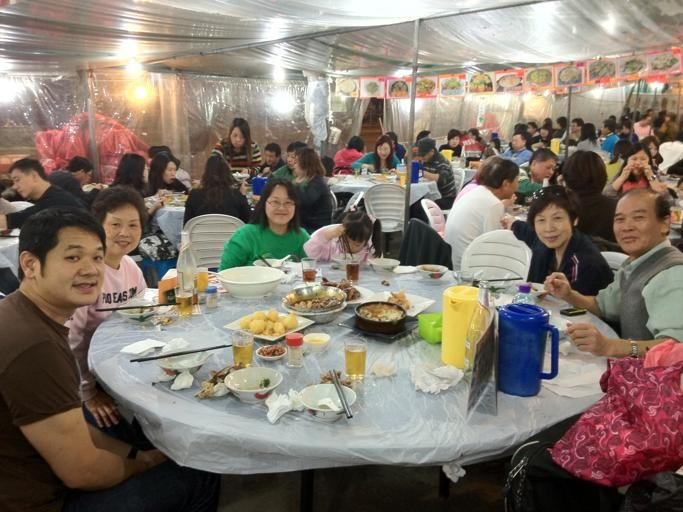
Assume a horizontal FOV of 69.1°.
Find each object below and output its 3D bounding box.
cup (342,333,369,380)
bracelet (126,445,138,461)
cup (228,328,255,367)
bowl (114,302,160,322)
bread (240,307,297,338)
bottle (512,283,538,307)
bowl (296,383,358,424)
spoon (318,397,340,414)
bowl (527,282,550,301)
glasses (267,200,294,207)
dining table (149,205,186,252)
[{"bbox_3d":[0.047,0.370,1.826,0.129,0.174,0.120,0,4,0],"label":"cup"},{"bbox_3d":[-0.832,0.781,1.972,0.047,0.019,0.079,1,8,-14],"label":"bracelet"},{"bbox_3d":[-0.381,0.355,1.862,0.093,0.117,0.080,-2,-3,-8],"label":"cup"},{"bbox_3d":[-0.900,0.248,2.233,0.114,0.026,0.110,1,10,0],"label":"bowl"},{"bbox_3d":[-0.300,0.259,2.070,0.149,0.043,0.139,8,13,26],"label":"bread"},{"bbox_3d":[0.831,0.180,2.256,0.089,0.132,0.077,-3,10,-13],"label":"bottle"},{"bbox_3d":[-0.029,0.473,1.612,0.137,0.054,0.152,-2,19,13],"label":"bowl"},{"bbox_3d":[-0.042,0.472,1.559,0.031,0.011,0.056,-8,7,-25],"label":"spoon"},{"bbox_3d":[0.950,0.172,2.426,0.094,0.031,0.092,4,20,-1],"label":"bowl"},{"bbox_3d":[-0.385,-0.330,3.142,0.169,0.053,0.052,-6,20,-14],"label":"glasses"},{"bbox_3d":[-1.635,-0.253,4.601,0.407,0.353,0.390,-9,26,-34],"label":"dining table"}]
